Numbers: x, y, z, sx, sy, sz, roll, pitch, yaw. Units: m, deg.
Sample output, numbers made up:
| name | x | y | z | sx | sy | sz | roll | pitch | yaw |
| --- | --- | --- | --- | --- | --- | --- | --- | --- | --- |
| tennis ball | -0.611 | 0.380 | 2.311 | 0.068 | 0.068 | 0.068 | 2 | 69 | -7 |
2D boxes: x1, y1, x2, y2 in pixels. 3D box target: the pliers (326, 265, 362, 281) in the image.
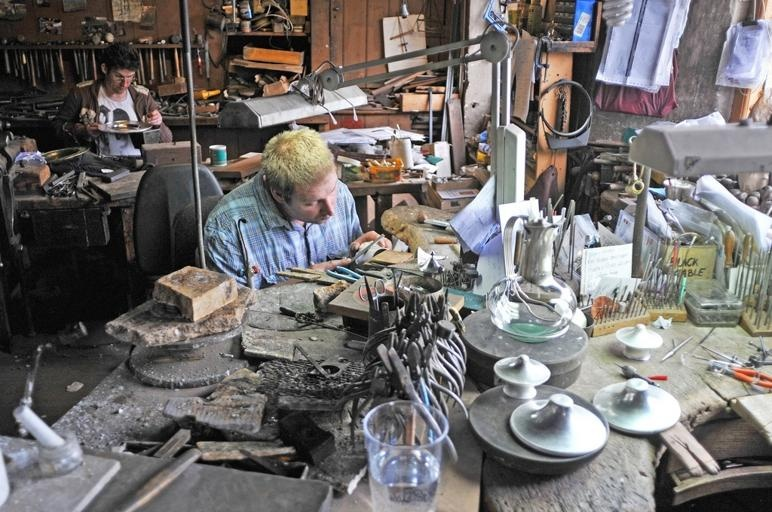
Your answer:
| name | x | y | z | sx | sy | sz | roll | pitch | yaw |
| --- | --- | --- | --- | --- | --- | --- | --- | --- | --- |
| pliers | -0.202 | 0.075 | 2.832 | 0.144 | 0.033 | 0.078 | 14 | 4 | 43 |

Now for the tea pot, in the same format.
| name | x | y | z | sx | sy | sz | roll | pitch | yaw |
| --- | --- | --- | --- | --- | --- | --- | --- | --- | --- |
| tea pot | 0.601 | 0.081 | 2.287 | 0.325 | 0.471 | 0.296 | -1 | 20 | 0 |
